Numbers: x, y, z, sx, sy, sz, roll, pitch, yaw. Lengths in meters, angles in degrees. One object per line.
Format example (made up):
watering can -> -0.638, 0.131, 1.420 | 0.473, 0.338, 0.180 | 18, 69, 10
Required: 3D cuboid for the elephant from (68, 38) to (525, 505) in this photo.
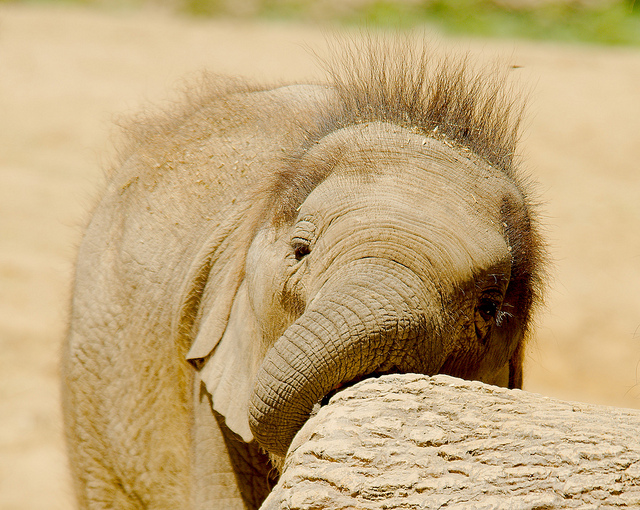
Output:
elephant -> -0.171, 0.173, 4.247 | 1.556, 1.623, 0.942 | 15, 22, 25
